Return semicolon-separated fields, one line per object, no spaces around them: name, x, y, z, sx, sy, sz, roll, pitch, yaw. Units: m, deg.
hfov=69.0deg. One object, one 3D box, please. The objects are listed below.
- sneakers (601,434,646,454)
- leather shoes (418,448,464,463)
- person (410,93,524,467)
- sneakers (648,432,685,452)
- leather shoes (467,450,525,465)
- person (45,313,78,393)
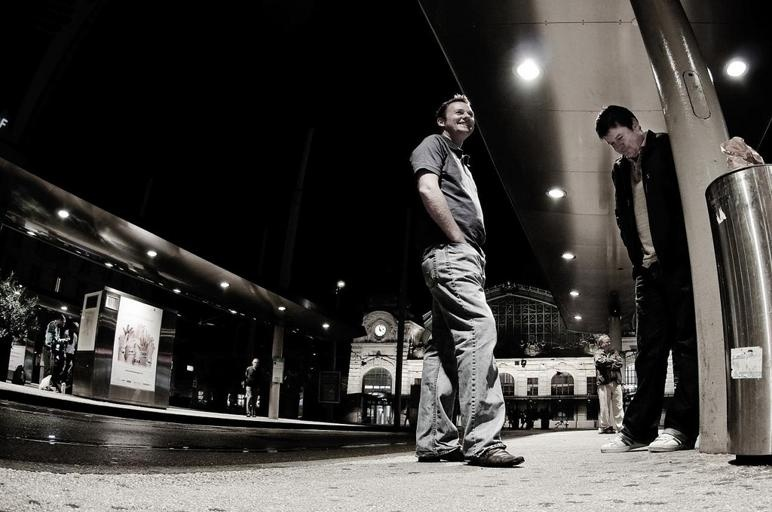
sneakers;2.058;1.608;4.860;0.547;0.141;0.170;5;-17;-20
leather shoes;0.419;1.567;4.426;0.370;0.095;0.274;-2;-16;5
person;0.600;0.017;4.666;0.769;3.209;0.794;-1;-16;3
sneakers;2.293;1.523;4.587;0.329;0.129;0.125;12;-25;-20
leather shoes;0.768;1.439;4.028;0.141;0.162;0.420;23;-33;-39
person;-7.911;2.408;13.798;0.475;1.759;1.130;5;-17;-18
